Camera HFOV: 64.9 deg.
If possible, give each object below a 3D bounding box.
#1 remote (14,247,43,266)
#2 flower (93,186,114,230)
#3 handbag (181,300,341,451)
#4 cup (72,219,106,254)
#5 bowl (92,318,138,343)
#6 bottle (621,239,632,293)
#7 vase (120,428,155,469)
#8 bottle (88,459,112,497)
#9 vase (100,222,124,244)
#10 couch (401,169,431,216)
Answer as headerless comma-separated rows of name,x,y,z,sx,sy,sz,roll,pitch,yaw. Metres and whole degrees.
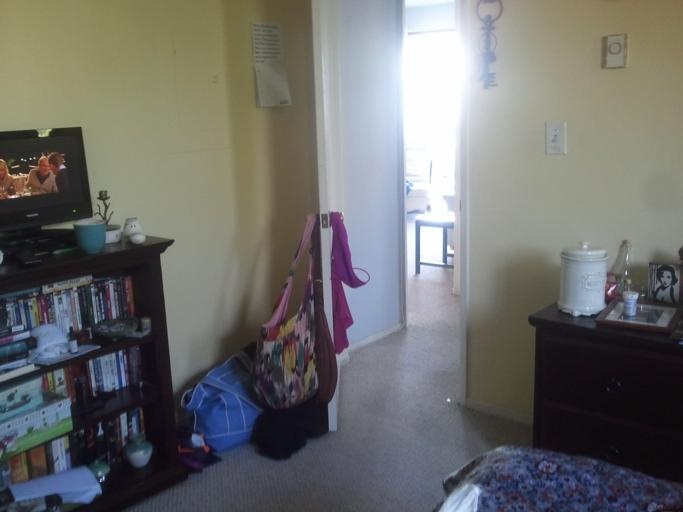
remote,-1.223,0.003,2.082,0.075,0.022,0.070,5,29,-35
flower,-1.072,-0.200,2.391,0.077,0.175,0.061,-1,1,-24
handbag,-0.445,0.756,2.800,0.748,0.395,0.415,-1,11,8
cup,-1.041,-0.097,2.239,0.118,0.147,0.126,2,13,0
bowl,-0.989,0.317,2.346,0.102,0.039,0.108,8,21,-3
bottle,1.260,0.047,2.358,0.045,0.215,0.047,-2,11,0
vase,-0.944,0.897,2.479,0.111,0.148,0.114,7,15,35
bottle,-1.059,0.965,2.330,0.094,0.108,0.098,3,-1,-28
vase,-1.011,-0.102,2.348,0.070,0.057,0.075,0,11,-4
couch,1.017,-0.720,7.124,0.339,0.663,2.354,-1,12,9
